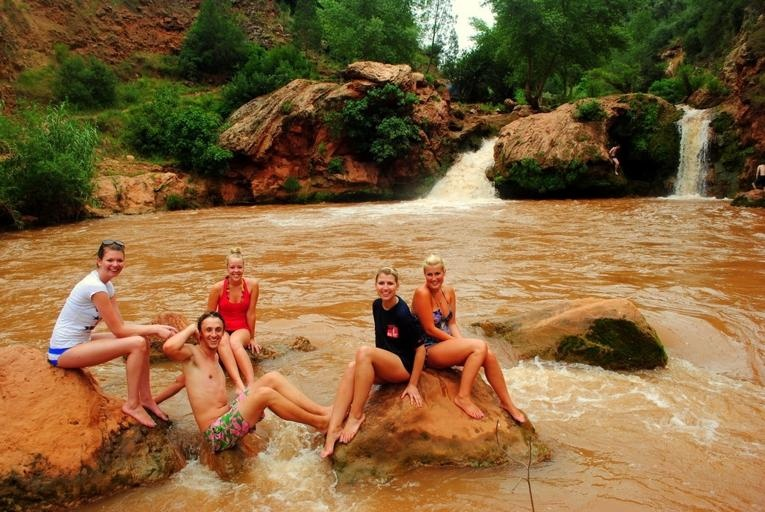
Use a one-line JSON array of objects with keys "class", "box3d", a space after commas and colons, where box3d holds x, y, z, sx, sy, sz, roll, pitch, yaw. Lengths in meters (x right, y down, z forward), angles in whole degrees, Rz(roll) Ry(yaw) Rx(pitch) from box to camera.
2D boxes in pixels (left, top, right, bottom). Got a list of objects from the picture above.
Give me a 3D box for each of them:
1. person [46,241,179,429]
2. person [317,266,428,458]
[{"class": "person", "box3d": [-3.847, 1.116, 8.203, 1.461, 2.578, 0.799, 1, 17, 11]}, {"class": "person", "box3d": [-0.098, 1.392, 8.232, 1.483, 2.294, 0.892, -5, 17, -9]}]
